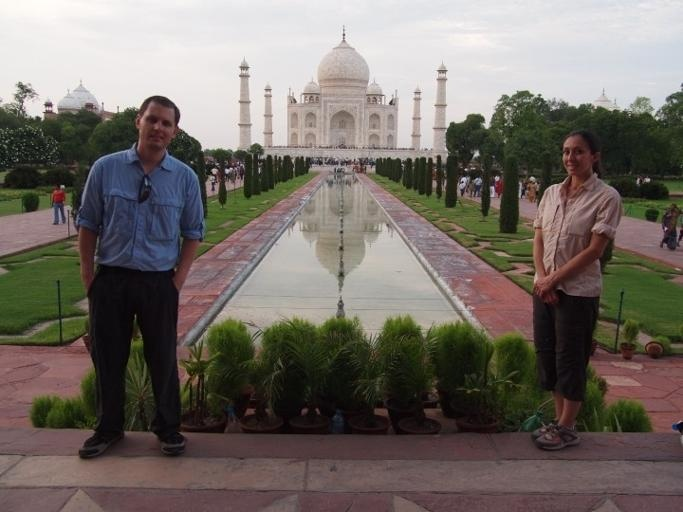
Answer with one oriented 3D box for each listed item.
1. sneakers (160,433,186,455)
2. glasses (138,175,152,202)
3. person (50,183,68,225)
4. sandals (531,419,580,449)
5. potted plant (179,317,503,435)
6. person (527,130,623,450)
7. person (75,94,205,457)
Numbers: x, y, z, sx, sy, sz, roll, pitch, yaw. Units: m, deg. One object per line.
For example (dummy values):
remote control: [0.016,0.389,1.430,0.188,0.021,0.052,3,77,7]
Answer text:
sneakers: [-0.715,0.774,2.323,0.121,0.065,0.120,0,7,-5]
glasses: [-0.844,-0.293,2.389,0.078,0.100,0.040,7,-4,6]
person: [-6.143,-1.132,12.085,0.244,0.826,1.320,-3,8,-27]
sandals: [0.904,0.758,2.386,0.240,0.107,0.080,-1,10,-3]
potted plant: [0.029,0.592,2.931,1.234,0.465,0.734,0,8,-3]
person: [1.030,0.118,2.478,0.354,1.351,0.504,3,7,19]
person: [-0.863,0.054,2.400,0.527,1.488,0.468,-1,7,-15]
